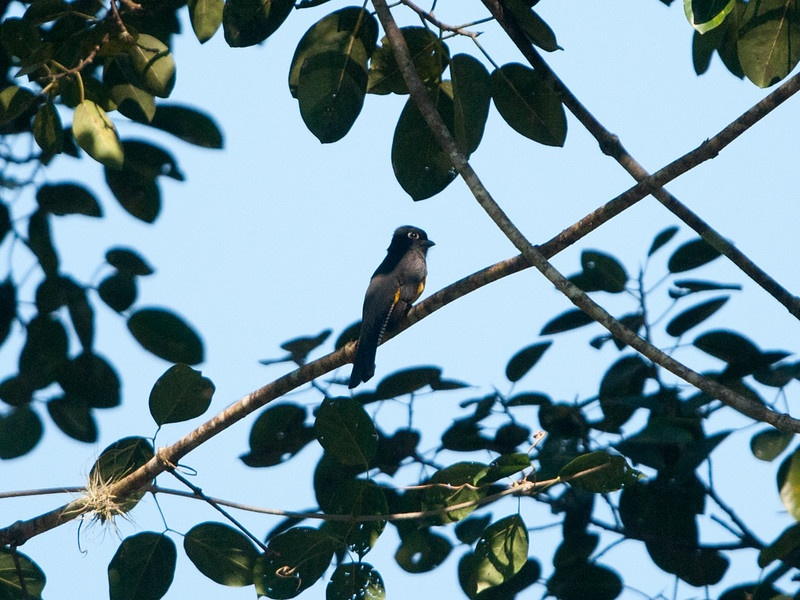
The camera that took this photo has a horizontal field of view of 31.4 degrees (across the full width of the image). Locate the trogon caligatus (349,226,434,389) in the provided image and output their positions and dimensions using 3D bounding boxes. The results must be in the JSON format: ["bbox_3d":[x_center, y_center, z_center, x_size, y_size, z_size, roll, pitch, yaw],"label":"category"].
[{"bbox_3d":[-0.013,0.059,9.214,0.606,1.297,0.360,7,-35,-21],"label":"trogon caligatus"}]
